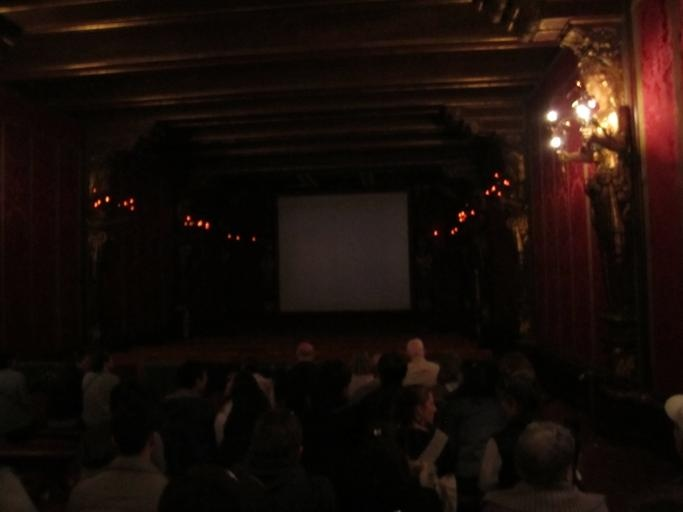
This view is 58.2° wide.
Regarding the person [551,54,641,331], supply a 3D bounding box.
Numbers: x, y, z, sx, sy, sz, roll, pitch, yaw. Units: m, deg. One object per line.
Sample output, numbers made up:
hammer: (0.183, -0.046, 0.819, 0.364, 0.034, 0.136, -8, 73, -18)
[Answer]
person: (2.897, -0.691, 6.908, 0.845, 2.853, 1.081, -1, -3, 29)
